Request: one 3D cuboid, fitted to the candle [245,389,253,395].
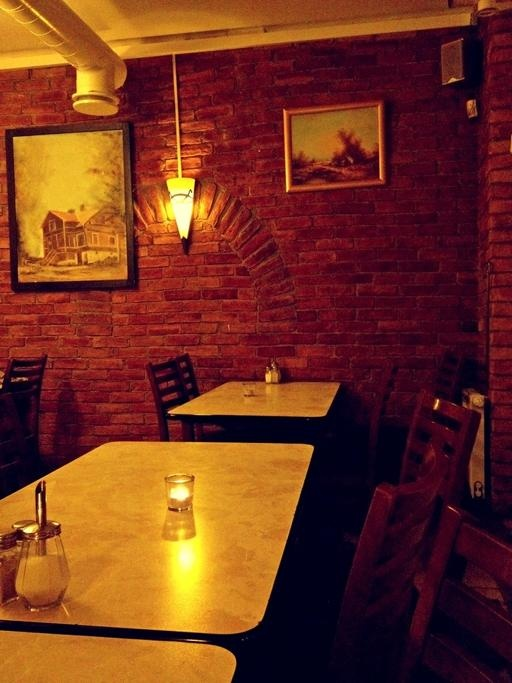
[{"bbox_3d":[-0.030,0.223,2.486,0.029,0.009,0.030,2,20,4],"label":"candle"}]

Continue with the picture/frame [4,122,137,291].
[{"bbox_3d":[-1.077,-0.831,3.399,1.078,1.211,0.084,-2,1,8],"label":"picture/frame"}]

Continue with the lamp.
[{"bbox_3d":[-0.426,-1.078,3.214,0.157,1.085,0.170,-2,3,-6],"label":"lamp"}]

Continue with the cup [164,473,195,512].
[{"bbox_3d":[-0.134,0.269,1.006,0.066,0.064,0.064,-1,0,0],"label":"cup"}]

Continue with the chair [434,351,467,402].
[{"bbox_3d":[0.947,0.173,2.727,0.119,0.113,0.379,16,47,7],"label":"chair"}]

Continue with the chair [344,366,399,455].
[{"bbox_3d":[0.548,0.351,2.727,0.273,0.533,0.727,-1,3,14],"label":"chair"}]

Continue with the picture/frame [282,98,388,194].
[{"bbox_3d":[0.449,-1.049,3.033,0.574,0.428,0.036,1,10,18],"label":"picture/frame"}]

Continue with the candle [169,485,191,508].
[{"bbox_3d":[-0.135,0.276,1.006,0.044,0.030,0.042,-1,5,-2],"label":"candle"}]
